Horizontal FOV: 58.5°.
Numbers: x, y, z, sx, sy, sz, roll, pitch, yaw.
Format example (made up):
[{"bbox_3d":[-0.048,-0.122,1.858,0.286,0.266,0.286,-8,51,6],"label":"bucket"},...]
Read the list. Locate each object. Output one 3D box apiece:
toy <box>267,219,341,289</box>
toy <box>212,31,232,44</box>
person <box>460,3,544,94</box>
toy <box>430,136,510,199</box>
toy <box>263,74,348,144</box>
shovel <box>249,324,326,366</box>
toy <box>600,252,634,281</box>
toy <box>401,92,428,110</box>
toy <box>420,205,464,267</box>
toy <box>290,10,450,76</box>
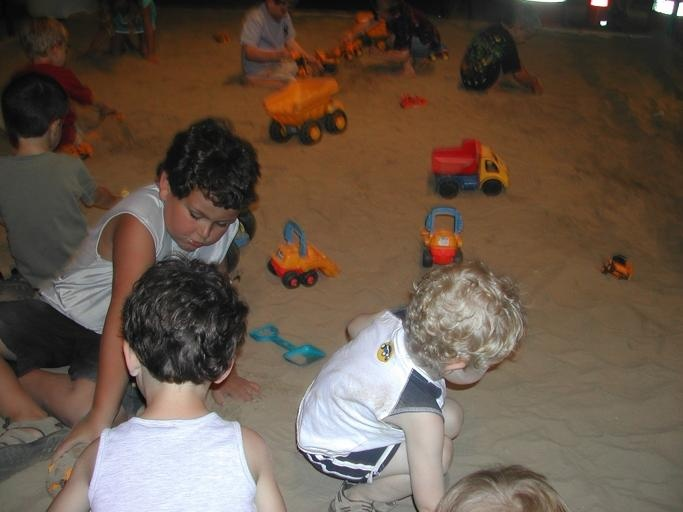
[{"bbox_3d":[-0.340,-0.052,5.230,0.459,0.493,0.387,-6,23,-38],"label":"toy"},{"bbox_3d":[-1.799,-3.290,9.186,0.188,0.108,0.264,2,34,-14],"label":"toy"},{"bbox_3d":[2.134,-2.695,8.215,1.114,0.825,0.861,-10,34,-15],"label":"person"},{"bbox_3d":[1.335,-0.876,6.243,0.728,0.493,0.479,-1,22,18],"label":"toy"},{"bbox_3d":[-0.387,-1.601,6.767,0.992,0.644,0.563,-26,29,-27],"label":"toy"},{"bbox_3d":[-0.418,0.683,4.694,0.504,0.029,0.261,27,39,35],"label":"shovel"},{"bbox_3d":[2.407,0.097,5.362,0.236,0.197,0.099,6,0,14],"label":"toy"},{"bbox_3d":[0.911,-1.946,7.636,0.297,0.206,0.082,-1,-7,-17],"label":"toy"},{"bbox_3d":[0.875,-0.242,5.494,0.319,0.402,0.657,1,42,5],"label":"toy"},{"bbox_3d":[0.642,-3.006,8.588,1.483,0.887,1.022,5,42,3],"label":"toy"}]
